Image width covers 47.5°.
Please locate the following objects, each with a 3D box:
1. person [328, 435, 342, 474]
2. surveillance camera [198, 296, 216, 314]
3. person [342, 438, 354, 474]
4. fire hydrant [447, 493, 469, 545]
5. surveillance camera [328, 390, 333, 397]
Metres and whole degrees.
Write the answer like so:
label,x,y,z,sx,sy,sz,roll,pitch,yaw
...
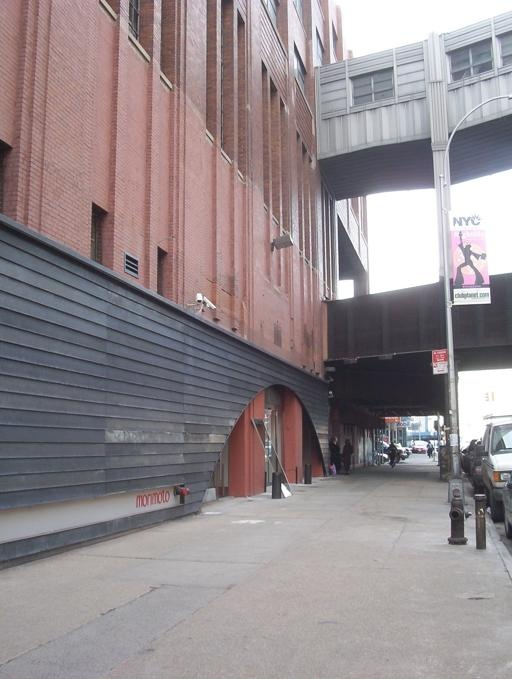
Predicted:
label,x,y,z,sx,sy,sz,roll,pitch,yaw
person,4.411,6.573,32.650,0.562,2.005,1.982,-2,-8,13
surveillance camera,-1.210,-0.898,13.706,0.348,0.144,0.362,33,-1,-29
person,5.316,6.898,34.000,0.562,1.964,2.111,-1,-9,9
fire hydrant,3.109,2.737,8.989,0.270,0.796,1.195,-2,-10,20
surveillance camera,4.131,3.061,32.118,0.185,0.340,0.229,-2,-1,17
